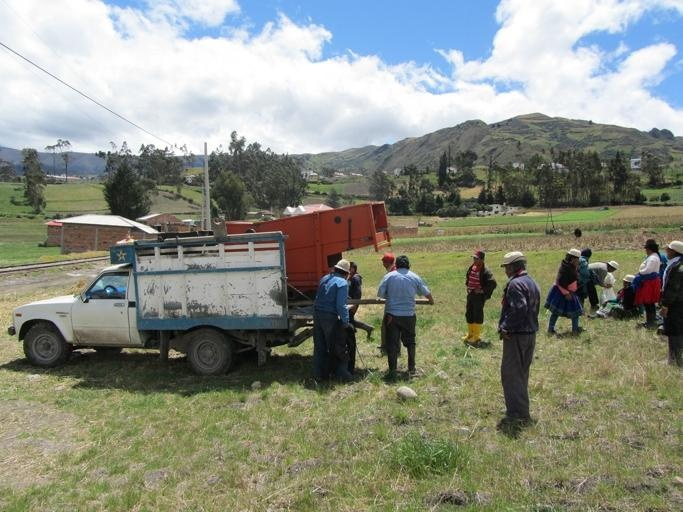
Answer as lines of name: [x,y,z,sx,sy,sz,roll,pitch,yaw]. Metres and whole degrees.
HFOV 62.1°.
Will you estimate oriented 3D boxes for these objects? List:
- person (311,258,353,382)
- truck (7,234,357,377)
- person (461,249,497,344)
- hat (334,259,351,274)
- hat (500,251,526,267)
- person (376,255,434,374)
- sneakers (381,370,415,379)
person: [-0.151,1.296,11.387,0.821,2.231,0.932,-2,5,-40]
truck: [-3.731,0.921,13.015,6.886,2.836,3.145,1,1,10]
person: [3.245,0.938,13.360,0.672,2.101,1.470,1,13,13]
hat: [0.032,0.228,11.376,0.261,0.136,0.255,15,4,-37]
hat: [2.947,0.032,9.619,0.379,0.145,0.301,-9,4,-12]
person: [1.169,1.182,11.173,0.851,2.231,0.668,-7,13,-21]
sneakers: [1.140,2.330,11.116,0.426,0.119,0.246,-1,-3,-18]
